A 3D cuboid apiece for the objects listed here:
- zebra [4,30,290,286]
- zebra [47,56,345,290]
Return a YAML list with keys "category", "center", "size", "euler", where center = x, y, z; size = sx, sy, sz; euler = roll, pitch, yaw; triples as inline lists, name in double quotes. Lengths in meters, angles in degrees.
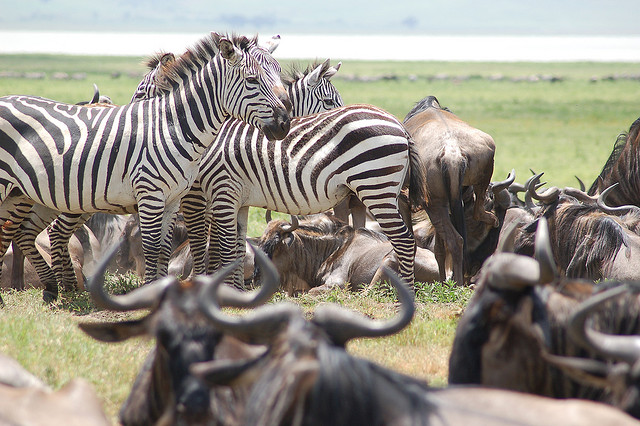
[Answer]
- category: "zebra"
  center: [-2.363, -0.731, 14.727]
  size: [3.495, 3.128, 1.252]
  euler: [-3, 20, -11]
- category: "zebra"
  center: [-2.548, -0.385, 15.749]
  size: [5.339, 3.475, 1.215]
  euler: [-7, -3, 29]
